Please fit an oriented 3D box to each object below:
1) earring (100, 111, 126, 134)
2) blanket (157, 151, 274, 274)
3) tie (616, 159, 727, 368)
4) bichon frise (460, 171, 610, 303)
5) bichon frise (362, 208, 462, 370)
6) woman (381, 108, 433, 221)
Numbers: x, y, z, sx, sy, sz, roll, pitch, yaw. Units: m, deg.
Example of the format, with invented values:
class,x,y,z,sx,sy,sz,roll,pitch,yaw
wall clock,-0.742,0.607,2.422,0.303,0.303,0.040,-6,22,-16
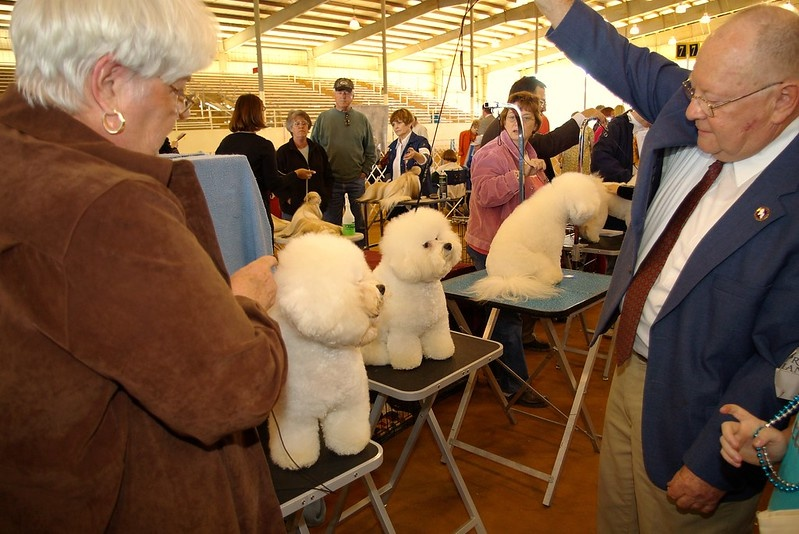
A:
class,x,y,z,sx,sy,sz,roll,pitch,yaw
earring,-0.611,-0.309,1.239,0.048,0.048,0.012,12,1,-14
blanket,-0.571,-0.211,2.140,0.463,0.425,0.416,2,10,24
tie,0.867,-0.005,1.817,0.092,0.779,0.085,33,-10,-16
bichon frise,0.806,-0.188,3.389,0.893,0.629,0.394,-10,14,-28
bichon frise,0.024,0.085,2.686,0.535,0.685,0.439,3,10,25
woman,0.162,-1.560,7.768,0.597,1.048,1.304,2,22,-5
